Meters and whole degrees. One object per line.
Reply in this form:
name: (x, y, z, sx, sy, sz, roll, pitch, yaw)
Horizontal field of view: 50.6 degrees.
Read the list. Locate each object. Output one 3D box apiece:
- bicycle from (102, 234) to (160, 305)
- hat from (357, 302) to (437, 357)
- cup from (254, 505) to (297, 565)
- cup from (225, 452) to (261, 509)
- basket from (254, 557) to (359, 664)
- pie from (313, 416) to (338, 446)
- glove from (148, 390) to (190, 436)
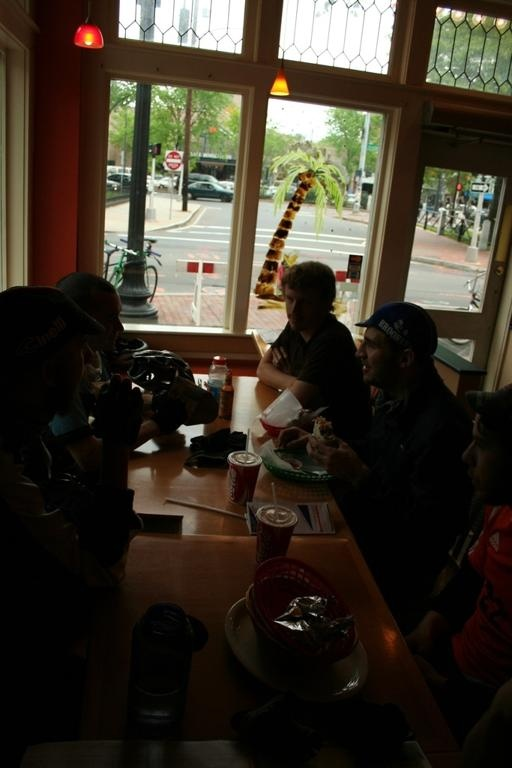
bicycle: (-1.207, -1.166, 5.229, 0.678, 0.473, 0.360, 14, 17, 37)
hat: (0.504, -0.226, 1.899, 0.308, 0.173, 0.231, 19, 13, 28)
cup: (0.041, 0.344, 1.218, 0.094, 0.105, 0.096, 7, 10, -1)
cup: (-0.037, 0.268, 1.544, 0.088, 0.134, 0.098, 17, 19, 36)
basket: (0.083, 0.369, 0.897, 0.123, 0.051, 0.118, 50, 12, 24)
pie: (0.229, 0.158, 1.857, 0.027, 0.085, 0.084, -11, -22, -9)
glove: (-0.309, 0.105, 1.929, 0.112, 0.156, 0.060, 7, -1, 40)
